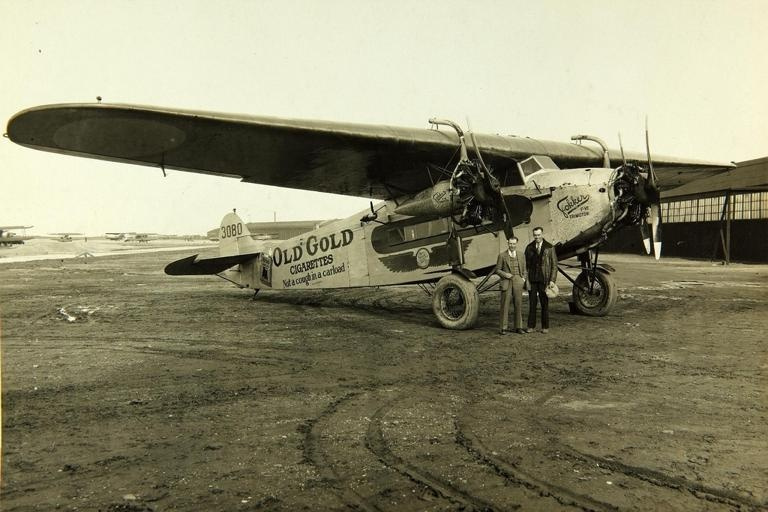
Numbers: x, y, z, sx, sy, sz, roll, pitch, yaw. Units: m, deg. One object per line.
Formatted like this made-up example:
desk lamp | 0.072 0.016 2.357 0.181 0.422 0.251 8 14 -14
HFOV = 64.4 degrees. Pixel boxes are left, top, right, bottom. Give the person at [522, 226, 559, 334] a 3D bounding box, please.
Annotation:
person | 2.888 0.445 11.185 0.570 1.853 0.601 -1 0 -10

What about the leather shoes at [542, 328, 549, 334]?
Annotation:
leather shoes | 2.970 1.387 11.167 0.055 0.059 0.152 -1 4 12

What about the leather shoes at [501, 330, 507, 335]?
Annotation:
leather shoes | 2.219 1.410 11.189 0.077 0.092 0.116 7 16 -2

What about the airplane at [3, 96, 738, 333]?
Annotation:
airplane | -0.419 -0.516 12.682 10.597 3.902 6.286 -1 0 -9
